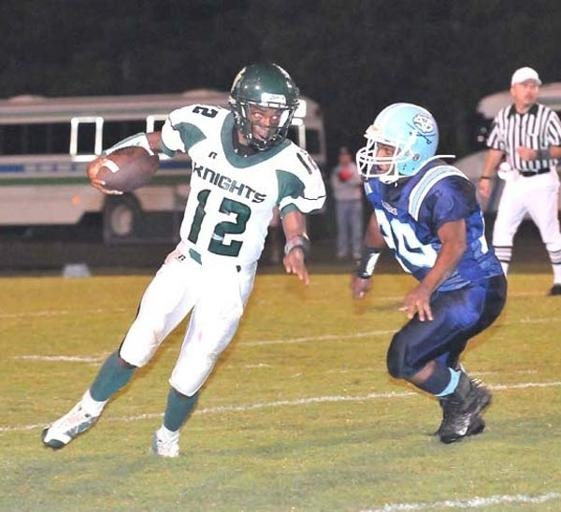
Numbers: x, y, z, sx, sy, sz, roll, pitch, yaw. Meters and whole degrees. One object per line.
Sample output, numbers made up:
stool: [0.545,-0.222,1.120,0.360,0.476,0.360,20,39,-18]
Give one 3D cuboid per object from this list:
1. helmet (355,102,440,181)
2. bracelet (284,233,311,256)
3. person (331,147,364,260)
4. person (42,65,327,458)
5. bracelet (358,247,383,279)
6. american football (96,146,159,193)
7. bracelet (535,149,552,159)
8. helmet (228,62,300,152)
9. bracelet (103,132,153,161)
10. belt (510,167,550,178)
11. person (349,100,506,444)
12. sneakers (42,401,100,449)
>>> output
helmet: [0.708,-0.685,7.001,0.417,0.495,0.374,5,15,30]
bracelet: [0.109,-0.077,6.803,0.150,0.103,0.107,-8,47,3]
person: [0.949,-0.715,16.530,0.485,1.549,0.256,1,14,-10]
person: [-0.456,0.026,6.835,1.441,2.259,0.484,-1,8,1]
bracelet: [0.574,0.042,7.473,0.146,0.194,0.101,13,-4,1]
american football: [-0.867,-0.513,6.893,0.346,0.223,0.129,-28,-2,-27]
bracelet: [2.362,-0.914,10.466,0.088,0.077,0.114,-2,4,2]
helmet: [-0.086,-0.861,6.686,0.418,0.477,0.519,-2,14,-17]
bracelet: [-0.915,-0.651,6.978,0.169,0.145,0.248,7,13,33]
belt: [2.275,-0.761,10.714,0.355,0.067,0.064,2,9,19]
person: [0.785,0.102,6.950,0.815,1.998,0.782,5,11,38]
sneakers: [-1.247,1.020,7.019,0.457,0.211,0.277,12,15,35]
